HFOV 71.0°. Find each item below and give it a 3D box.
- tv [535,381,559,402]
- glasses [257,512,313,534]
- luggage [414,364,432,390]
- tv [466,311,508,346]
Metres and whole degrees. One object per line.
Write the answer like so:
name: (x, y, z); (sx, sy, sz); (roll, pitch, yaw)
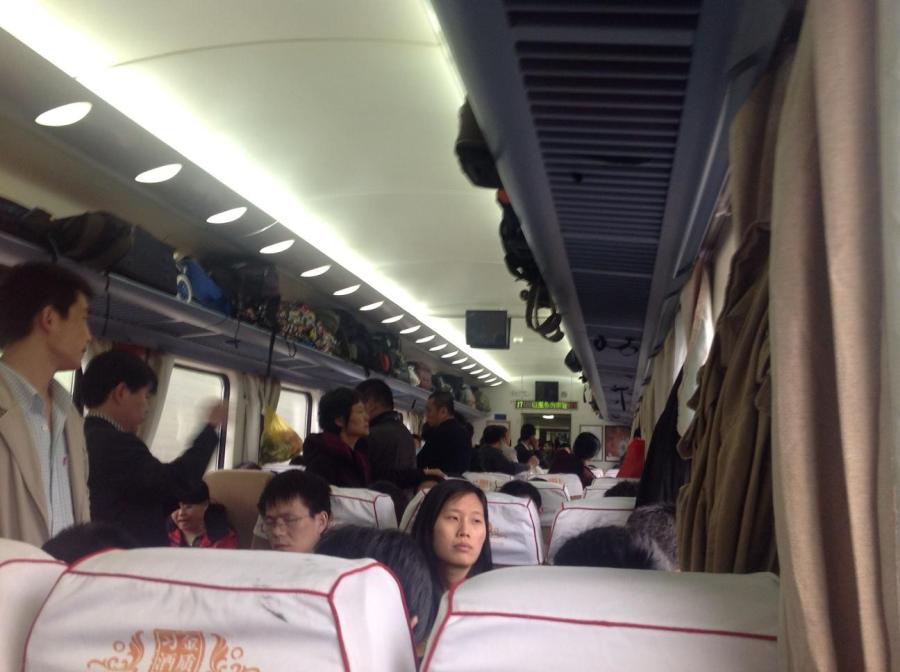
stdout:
tv: (3.209, 1.850, 21.129); (0.636, 0.642, 0.067); (-2, -19, 16)
glasses: (-0.718, 0.823, 2.785); (0.154, 0.052, 0.166); (-1, -13, 9)
luggage: (-0.597, 0.916, 14.253); (0.430, 0.568, 0.816); (1, 0, 15)
tv: (0.607, -0.114, 10.352); (0.850, 0.819, 0.482); (1, 4, 5)
